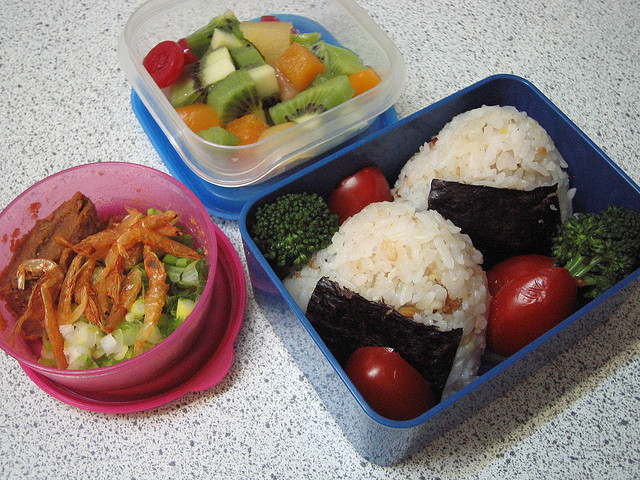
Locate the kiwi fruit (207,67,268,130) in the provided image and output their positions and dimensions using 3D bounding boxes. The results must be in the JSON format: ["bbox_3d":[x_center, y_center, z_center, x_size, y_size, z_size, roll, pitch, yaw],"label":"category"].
[{"bbox_3d":[-0.225,-0.366,1.556,0.141,0.102,0.123,-22,66,-2],"label":"kiwi fruit"}]

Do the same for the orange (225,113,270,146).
[{"bbox_3d":[-0.179,-0.299,1.544,0.106,0.092,0.062,-15,80,12],"label":"orange"}]

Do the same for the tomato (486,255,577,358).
[{"bbox_3d":[0.472,0.126,1.360,0.230,0.125,0.203,-24,66,-3],"label":"tomato"}]

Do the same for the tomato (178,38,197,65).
[{"bbox_3d":[-0.360,-0.511,1.603,0.022,0.064,0.047,-22,35,8],"label":"tomato"}]

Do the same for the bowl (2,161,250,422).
[{"bbox_3d":[-0.472,0.115,1.396,0.572,0.256,0.572,-3,67,7],"label":"bowl"}]

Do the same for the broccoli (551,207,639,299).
[{"bbox_3d":[0.653,0.025,1.456,0.167,0.148,0.243,25,88,12],"label":"broccoli"}]

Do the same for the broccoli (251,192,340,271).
[{"bbox_3d":[-0.059,-0.030,1.379,0.198,0.099,0.149,-36,67,-7],"label":"broccoli"}]

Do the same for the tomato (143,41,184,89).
[{"bbox_3d":[-0.417,-0.478,1.572,0.109,0.032,0.130,7,86,-3],"label":"tomato"}]

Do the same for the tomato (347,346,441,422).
[{"bbox_3d":[0.147,0.306,1.258,0.124,0.079,0.195,-42,69,-10],"label":"tomato"}]

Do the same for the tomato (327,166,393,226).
[{"bbox_3d":[0.104,-0.107,1.467,0.182,0.113,0.089,-35,67,-7],"label":"tomato"}]
